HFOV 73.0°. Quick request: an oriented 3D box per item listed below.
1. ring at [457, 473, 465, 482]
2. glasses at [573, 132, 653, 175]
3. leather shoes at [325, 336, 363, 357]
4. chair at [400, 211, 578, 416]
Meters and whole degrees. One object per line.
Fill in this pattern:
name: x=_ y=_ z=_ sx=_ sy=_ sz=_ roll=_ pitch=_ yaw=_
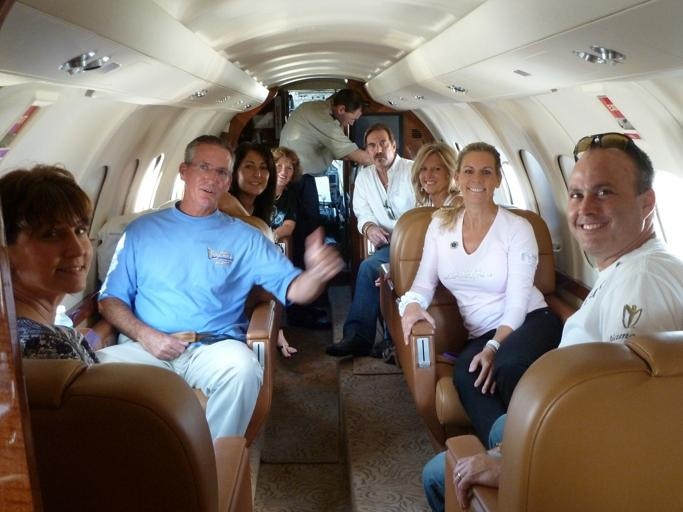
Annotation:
ring: x=0.409 y=0.757 z=1.587 sx=0.023 sy=0.024 sz=0.006 roll=-5 pitch=-21 yaw=39
glasses: x=1.143 y=-0.452 z=1.910 sx=0.222 sy=0.073 sz=0.239 roll=8 pitch=-27 yaw=44
leather shoes: x=0.062 y=0.895 z=4.543 sx=0.384 sy=0.182 sz=0.155 roll=5 pitch=-8 yaw=-16
chair: x=1.172 y=0.293 z=3.325 sx=1.103 sy=1.576 sz=1.376 roll=-4 pitch=5 yaw=6
